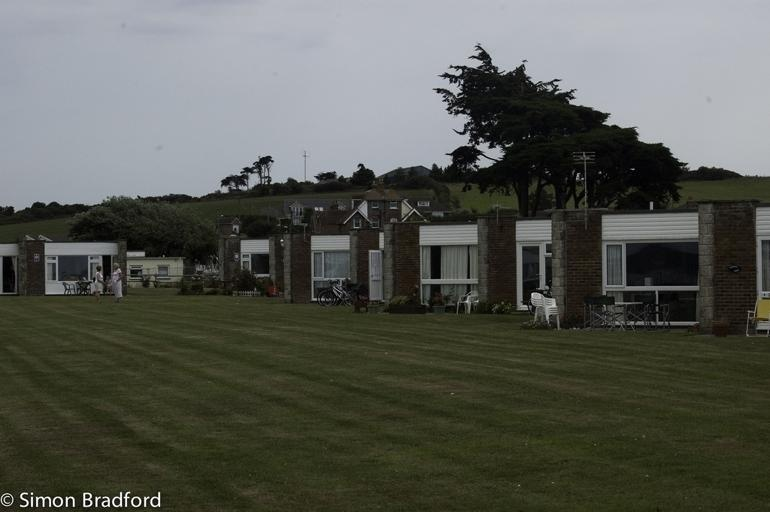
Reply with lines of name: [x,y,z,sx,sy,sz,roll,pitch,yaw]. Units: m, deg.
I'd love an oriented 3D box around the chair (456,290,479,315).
chair: [2.949,1.792,42.738,0.864,1.005,0.834,0,3,-36]

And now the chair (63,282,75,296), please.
chair: [-17.543,1.872,62.706,0.699,0.832,0.762,-3,-3,38]

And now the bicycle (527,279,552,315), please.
bicycle: [5.404,1.511,42.123,1.408,1.112,0.983,0,-3,13]

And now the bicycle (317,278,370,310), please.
bicycle: [-1.923,1.603,49.035,2.412,1.143,1.078,1,-6,-11]
